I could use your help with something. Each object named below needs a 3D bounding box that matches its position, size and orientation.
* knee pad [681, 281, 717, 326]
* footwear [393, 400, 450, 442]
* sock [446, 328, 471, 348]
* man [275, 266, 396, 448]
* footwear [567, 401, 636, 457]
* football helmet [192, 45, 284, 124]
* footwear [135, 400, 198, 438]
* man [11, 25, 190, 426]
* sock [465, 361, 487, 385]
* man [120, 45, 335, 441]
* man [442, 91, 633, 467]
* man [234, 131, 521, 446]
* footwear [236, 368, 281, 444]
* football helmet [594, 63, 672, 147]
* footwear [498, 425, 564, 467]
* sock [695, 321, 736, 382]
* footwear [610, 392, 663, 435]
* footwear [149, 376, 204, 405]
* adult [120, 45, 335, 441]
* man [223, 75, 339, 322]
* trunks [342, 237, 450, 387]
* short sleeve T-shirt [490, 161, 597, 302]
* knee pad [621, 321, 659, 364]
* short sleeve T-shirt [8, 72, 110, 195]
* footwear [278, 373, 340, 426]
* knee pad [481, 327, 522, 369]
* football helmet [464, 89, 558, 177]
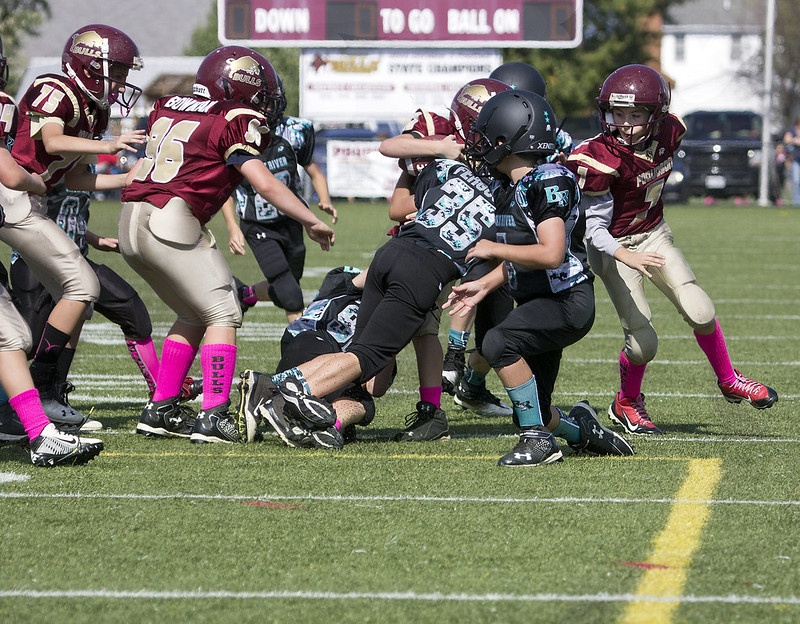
[{"bbox_3d":[1.559,-0.019,5.598,0.175,0.233,0.067,-10,-9,-24],"label":"knee pad"},{"bbox_3d":[0.113,0.554,5.329,0.121,0.166,0.372,-1,-1,28],"label":"footwear"},{"bbox_3d":[0.359,0.164,6.677,0.114,0.096,0.108,7,1,1],"label":"sock"},{"bbox_3d":[-0.407,0.186,5.464,0.396,1.109,0.365,6,-27,-32],"label":"man"},{"bbox_3d":[0.978,0.577,5.160,0.252,0.087,0.109,37,20,15],"label":"footwear"},{"bbox_3d":[-0.827,-1.157,5.426,0.433,0.365,0.321,-2,9,-24],"label":"football helmet"},{"bbox_3d":[-1.174,0.519,5.359,0.385,0.183,0.142,0,21,-33],"label":"footwear"},{"bbox_3d":[-1.642,-0.213,5.851,0.889,1.288,0.470,2,5,6],"label":"man"},{"bbox_3d":[0.434,0.341,6.094,0.111,0.098,0.108,28,14,9],"label":"sock"},{"bbox_3d":[-0.994,-0.335,5.405,0.874,1.984,1.053,-1,6,-45],"label":"man"},{"bbox_3d":[0.553,-0.136,4.840,0.805,1.733,0.817,-2,-5,25],"label":"man"},{"bbox_3d":[0.013,-0.100,5.171,0.601,1.500,1.326,19,7,42],"label":"man"},{"bbox_3d":[-0.698,0.429,5.055,0.200,0.440,0.145,-2,19,-7],"label":"footwear"},{"bbox_3d":[1.225,-1.078,5.550,0.340,0.357,0.421,4,22,33],"label":"football helmet"},{"bbox_3d":[0.585,0.609,4.749,0.316,0.152,0.121,0,-3,-36],"label":"footwear"},{"bbox_3d":[1.888,0.257,6.410,0.106,0.409,0.120,-37,-18,34],"label":"sock"},{"bbox_3d":[1.246,0.547,5.639,0.109,0.166,0.314,7,17,-38],"label":"footwear"},{"bbox_3d":[-1.215,0.420,5.687,0.287,0.133,0.108,-18,40,-15],"label":"footwear"},{"bbox_3d":[-0.995,-0.345,5.433,0.908,1.995,0.987,0,6,-42],"label":"adult"},{"bbox_3d":[-0.866,-0.668,7.580,0.734,1.962,0.729,-10,-1,-12],"label":"man"},{"bbox_3d":[-0.034,-0.054,4.993,0.370,0.349,0.760,15,44,29],"label":"trunks"},{"bbox_3d":[0.614,-0.358,4.664,0.362,0.582,0.586,-13,6,-16],"label":"short sleeve T-shirt"},{"bbox_3d":[1.258,0.179,5.674,0.153,0.218,0.211,-13,46,-15],"label":"knee pad"},{"bbox_3d":[-1.703,-0.885,5.295,0.338,0.565,0.576,27,7,7],"label":"short sleeve T-shirt"},{"bbox_3d":[-0.445,0.432,4.946,0.162,0.309,0.143,-44,4,-27],"label":"footwear"},{"bbox_3d":[0.438,0.168,4.641,0.174,0.142,0.132,2,-1,-38],"label":"knee pad"},{"bbox_3d":[0.481,-0.783,4.658,0.373,0.332,0.296,9,12,34],"label":"football helmet"}]
